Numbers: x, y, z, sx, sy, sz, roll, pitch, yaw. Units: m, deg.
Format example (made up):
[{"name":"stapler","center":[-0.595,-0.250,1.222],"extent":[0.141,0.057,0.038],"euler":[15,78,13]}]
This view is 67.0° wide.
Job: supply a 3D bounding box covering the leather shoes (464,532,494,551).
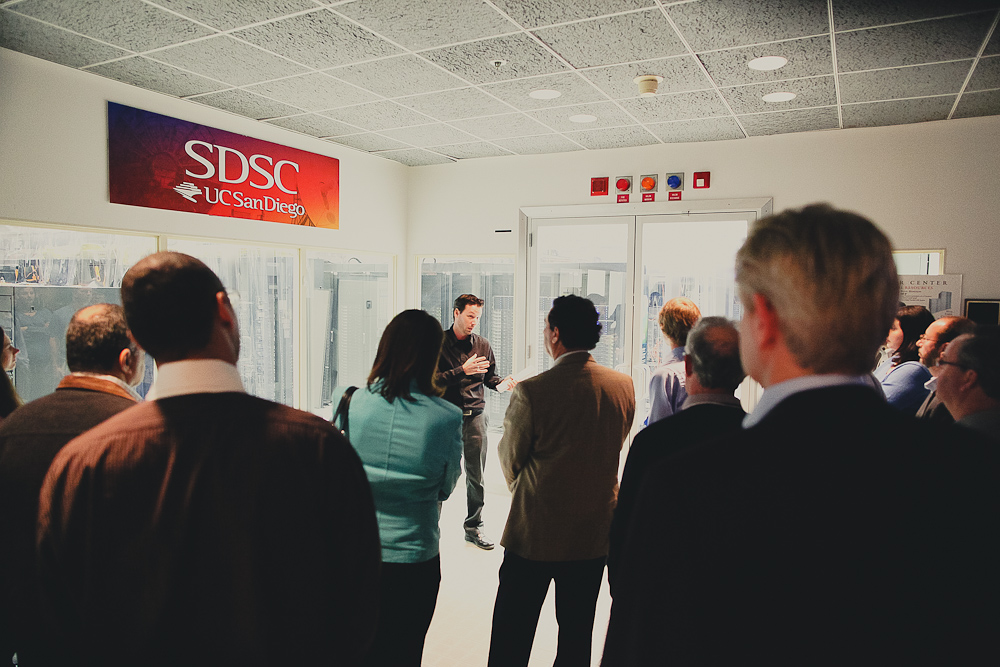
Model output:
[{"name":"leather shoes","center":[-0.153,1.321,4.875],"extent":[0.208,0.087,0.077],"euler":[9,9,35]}]
